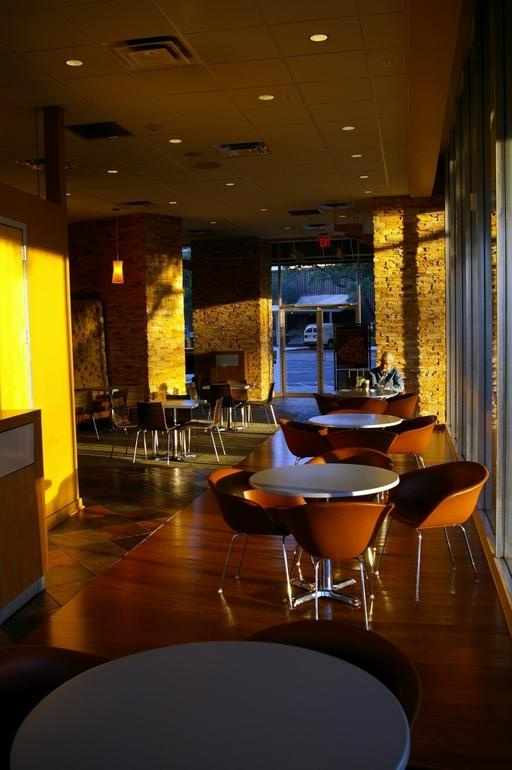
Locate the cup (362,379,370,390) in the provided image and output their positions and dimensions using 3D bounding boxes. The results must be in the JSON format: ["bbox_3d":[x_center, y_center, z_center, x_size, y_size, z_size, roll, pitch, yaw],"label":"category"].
[{"bbox_3d":[1.634,0.005,8.499,0.114,0.176,0.177,-2,2,-21],"label":"cup"}]
